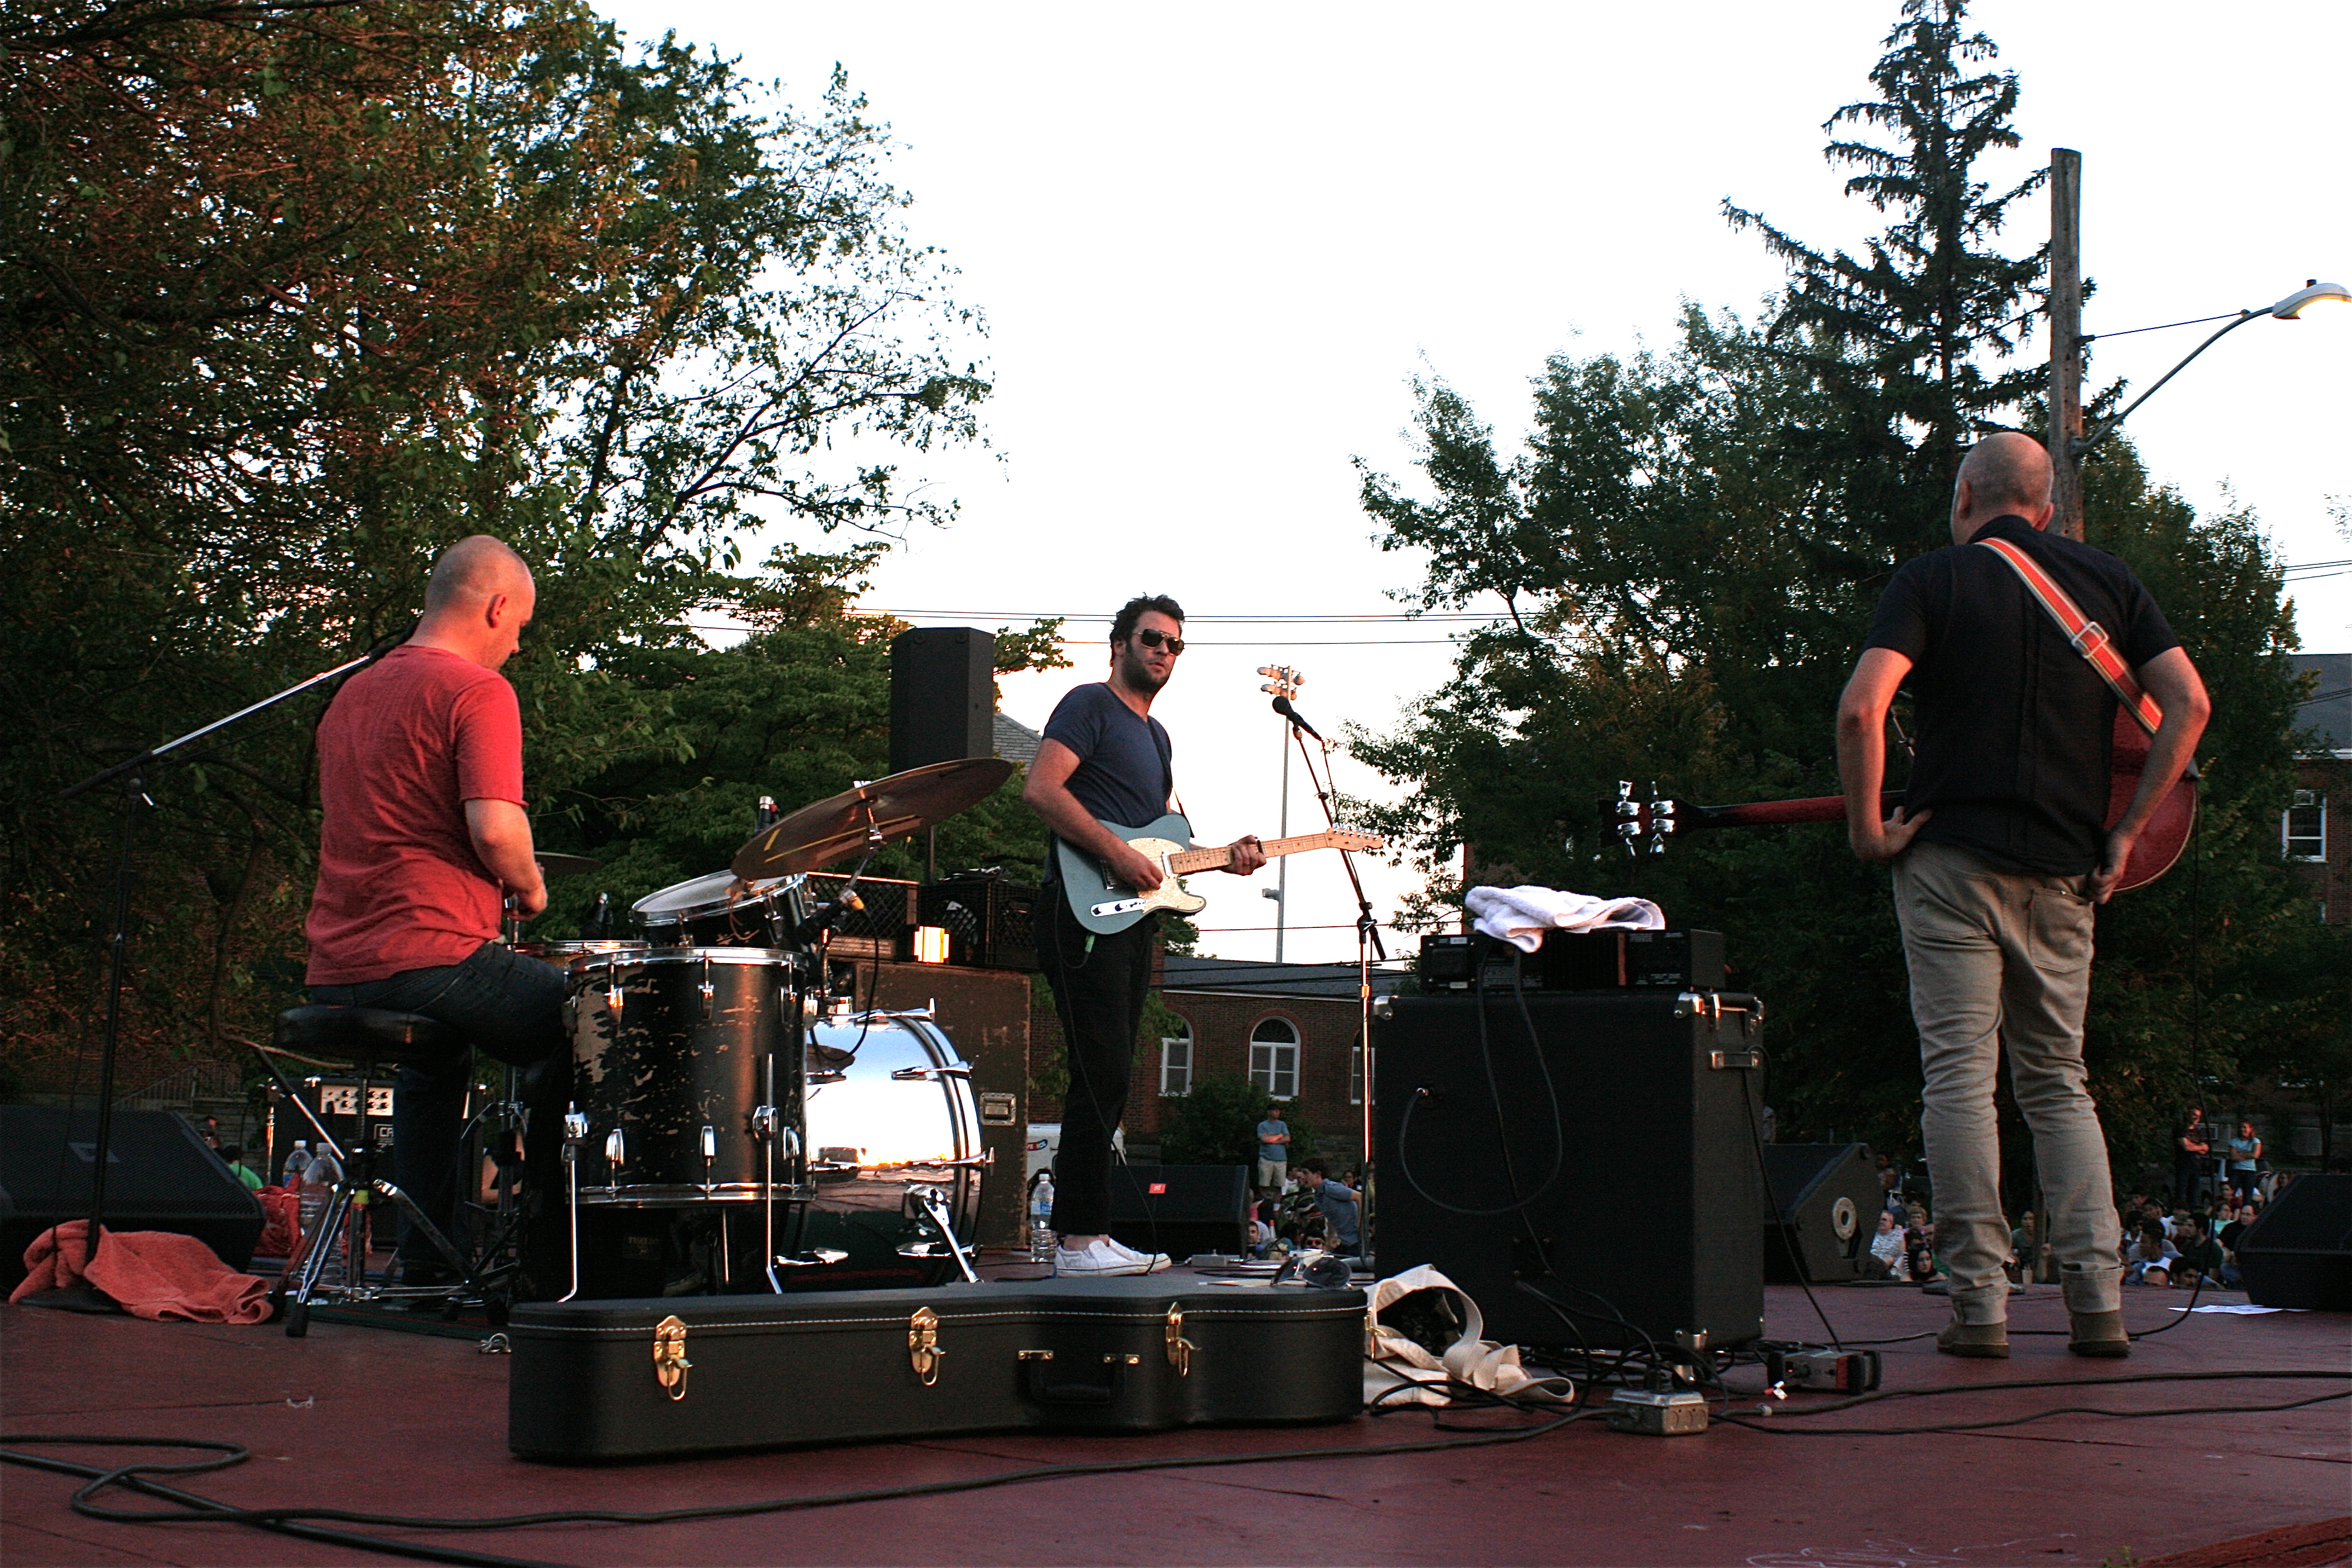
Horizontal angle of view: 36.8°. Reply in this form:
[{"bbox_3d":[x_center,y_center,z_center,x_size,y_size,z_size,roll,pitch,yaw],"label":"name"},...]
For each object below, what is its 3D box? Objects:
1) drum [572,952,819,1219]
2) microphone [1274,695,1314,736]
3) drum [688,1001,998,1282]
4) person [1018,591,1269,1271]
[{"bbox_3d":[-2.303,1.383,16.915,1.273,1.370,0.738,2,-1,-18],"label":"drum"},{"bbox_3d":[0.642,-0.338,18.914,0.237,0.269,0.529,-3,-11,2],"label":"microphone"},{"bbox_3d":[-1.871,1.956,18.750,1.285,1.490,1.570,0,0,-37],"label":"drum"},{"bbox_3d":[-0.227,0.800,18.748,1.187,3.517,1.331,1,-6,14],"label":"person"}]
